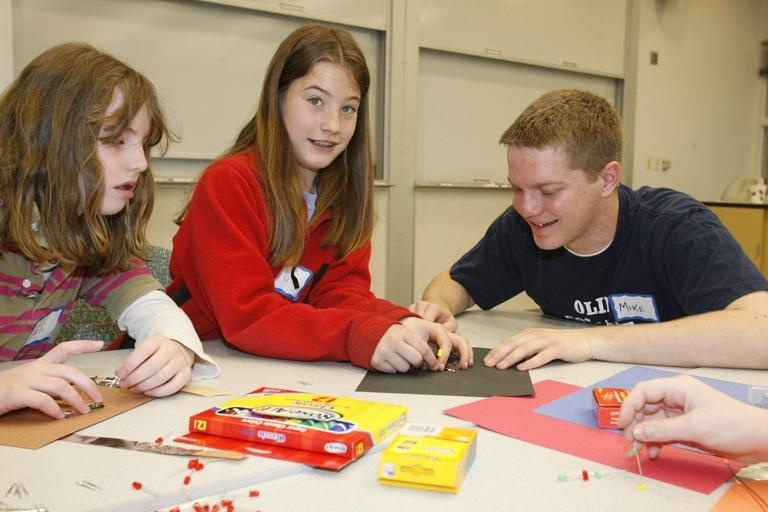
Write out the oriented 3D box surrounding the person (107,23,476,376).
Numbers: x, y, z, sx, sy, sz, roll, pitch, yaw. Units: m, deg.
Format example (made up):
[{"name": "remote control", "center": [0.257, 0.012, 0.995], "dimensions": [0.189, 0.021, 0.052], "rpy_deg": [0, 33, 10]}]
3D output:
[{"name": "person", "center": [-0.226, -0.154, 1.815], "dimensions": [0.657, 1.032, 1.115], "rpy_deg": [0, 8, -42]}]
